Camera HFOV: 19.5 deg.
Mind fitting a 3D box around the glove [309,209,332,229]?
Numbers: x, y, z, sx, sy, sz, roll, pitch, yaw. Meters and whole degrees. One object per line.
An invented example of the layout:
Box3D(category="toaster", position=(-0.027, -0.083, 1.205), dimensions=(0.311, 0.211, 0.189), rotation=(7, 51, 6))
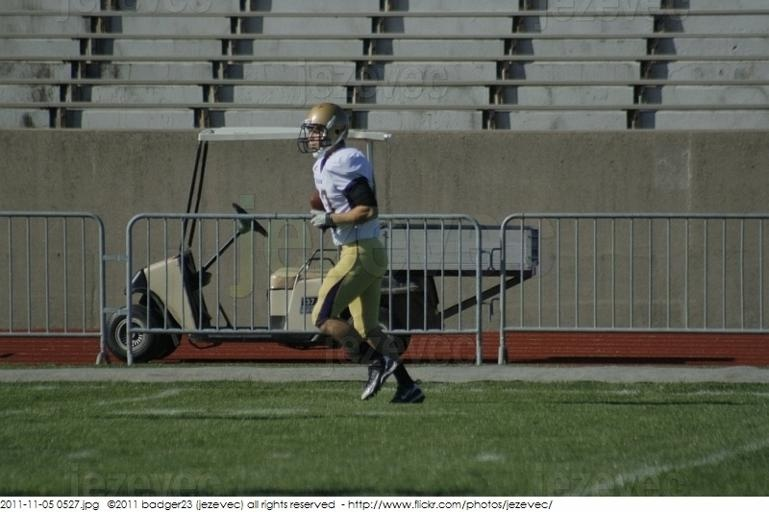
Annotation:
Box3D(category="glove", position=(-0.789, -0.471, 28.690), dimensions=(0.262, 0.198, 0.097), rotation=(1, 43, 8))

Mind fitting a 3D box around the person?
Box3D(category="person", position=(-0.357, -0.016, 28.874), dimensions=(1.379, 3.805, 0.732), rotation=(1, -1, -20))

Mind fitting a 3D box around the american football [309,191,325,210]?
Box3D(category="american football", position=(-0.831, -0.668, 28.961), dimensions=(0.238, 0.107, 0.184), rotation=(28, -35, -31))
